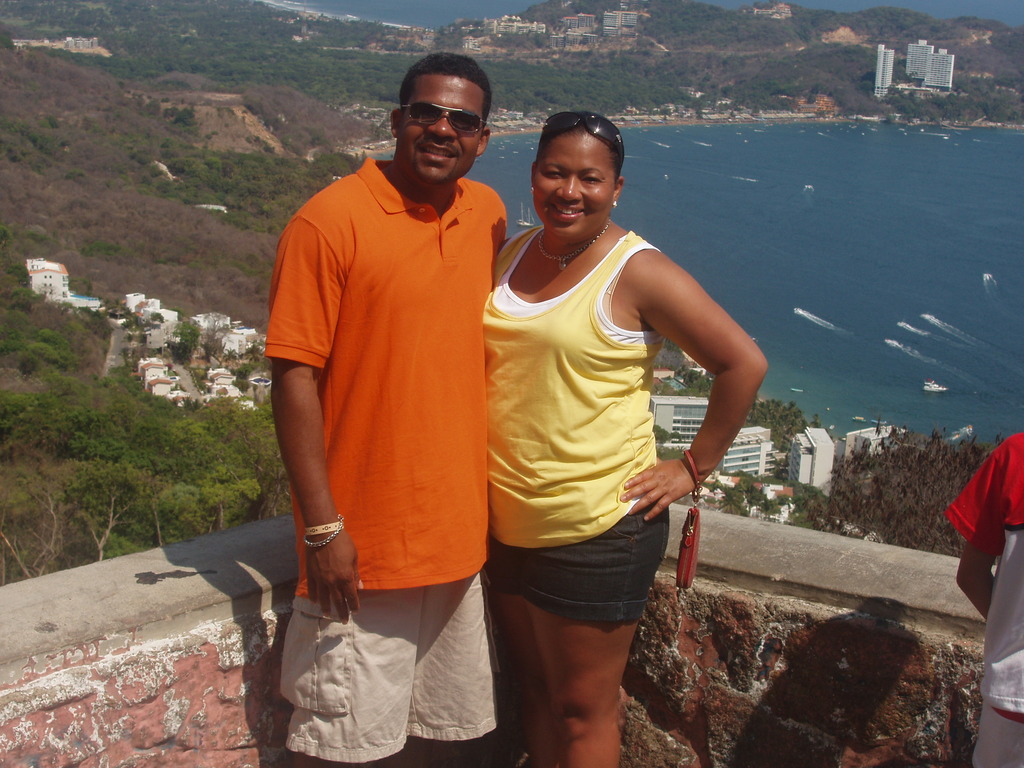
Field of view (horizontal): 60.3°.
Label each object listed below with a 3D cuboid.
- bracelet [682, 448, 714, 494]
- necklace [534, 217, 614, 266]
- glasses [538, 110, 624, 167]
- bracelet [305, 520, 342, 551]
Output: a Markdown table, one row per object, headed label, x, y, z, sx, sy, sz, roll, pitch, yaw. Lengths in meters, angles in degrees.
| label | x | y | z | sx | sy | sz | roll | pitch | yaw |
| --- | --- | --- | --- | --- | --- | --- | --- | --- | --- |
| bracelet | 0.320 | 0.165 | 1.625 | 0.030 | 0.081 | 0.061 | -24 | -15 | 23 |
| necklace | 0.083 | -0.260 | 1.555 | 0.084 | 0.095 | 0.020 | 12 | -16 | 34 |
| glasses | 0.133 | -0.440 | 1.609 | 0.146 | 0.043 | 0.158 | 5 | -13 | 27 |
| bracelet | -0.315 | 0.253 | 1.478 | 0.054 | 0.019 | 0.044 | -9 | 7 | -4 |
